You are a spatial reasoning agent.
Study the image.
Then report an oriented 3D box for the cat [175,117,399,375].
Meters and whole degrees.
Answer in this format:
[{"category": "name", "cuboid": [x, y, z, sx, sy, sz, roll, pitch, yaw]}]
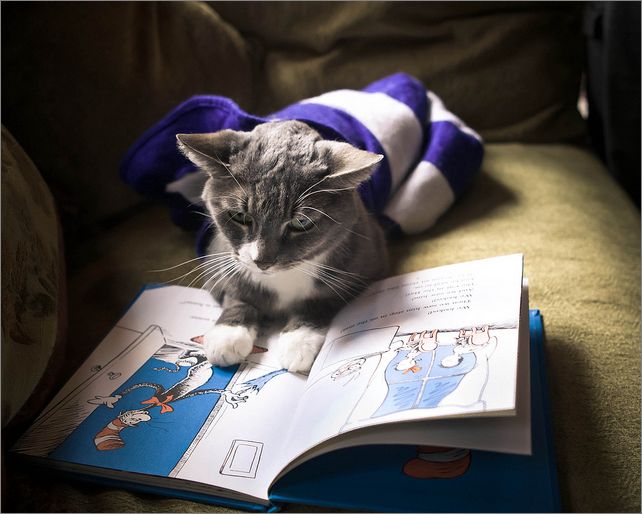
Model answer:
[{"category": "cat", "cuboid": [-0.081, -0.032, 1.398, 0.371, 0.489, 0.633, 5, 14, -1]}]
